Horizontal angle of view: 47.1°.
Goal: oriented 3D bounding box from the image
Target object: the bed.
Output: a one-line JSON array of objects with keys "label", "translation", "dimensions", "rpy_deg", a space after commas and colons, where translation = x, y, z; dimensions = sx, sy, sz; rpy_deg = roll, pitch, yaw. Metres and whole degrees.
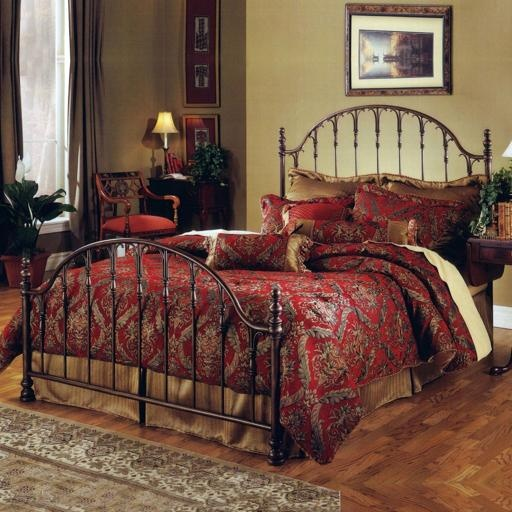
[{"label": "bed", "translation": [0.102, 0.155, 3.023], "dimensions": [1.703, 0.956, 1.891], "rpy_deg": [3, 3, 29]}]

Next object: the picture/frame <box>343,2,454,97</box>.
[{"label": "picture/frame", "translation": [1.096, -1.561, 4.369], "dimensions": [0.980, 0.648, 0.075], "rpy_deg": [2, 13, 13]}]
